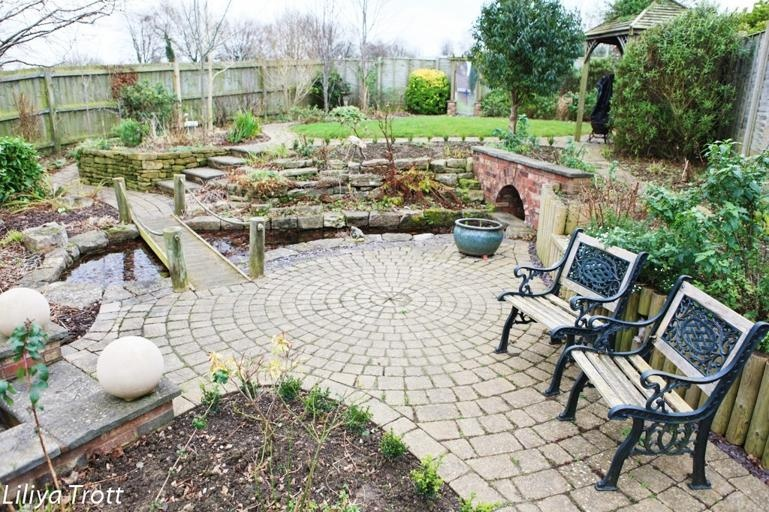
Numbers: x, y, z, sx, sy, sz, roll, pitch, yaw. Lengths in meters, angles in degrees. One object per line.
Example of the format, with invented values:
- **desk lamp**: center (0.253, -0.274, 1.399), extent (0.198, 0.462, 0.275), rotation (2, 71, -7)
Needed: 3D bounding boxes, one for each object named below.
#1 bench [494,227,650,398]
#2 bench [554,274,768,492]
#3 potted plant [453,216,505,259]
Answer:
- **bench**: center (2.120, 0.521, 6.318), extent (1.523, 2.027, 1.605), rotation (0, 14, -18)
- **bench**: center (2.630, 1.028, 5.433), extent (1.836, 2.271, 1.801), rotation (1, 16, -3)
- **potted plant**: center (1.682, -0.354, 8.798), extent (0.901, 0.611, 0.951), rotation (7, 24, 22)
